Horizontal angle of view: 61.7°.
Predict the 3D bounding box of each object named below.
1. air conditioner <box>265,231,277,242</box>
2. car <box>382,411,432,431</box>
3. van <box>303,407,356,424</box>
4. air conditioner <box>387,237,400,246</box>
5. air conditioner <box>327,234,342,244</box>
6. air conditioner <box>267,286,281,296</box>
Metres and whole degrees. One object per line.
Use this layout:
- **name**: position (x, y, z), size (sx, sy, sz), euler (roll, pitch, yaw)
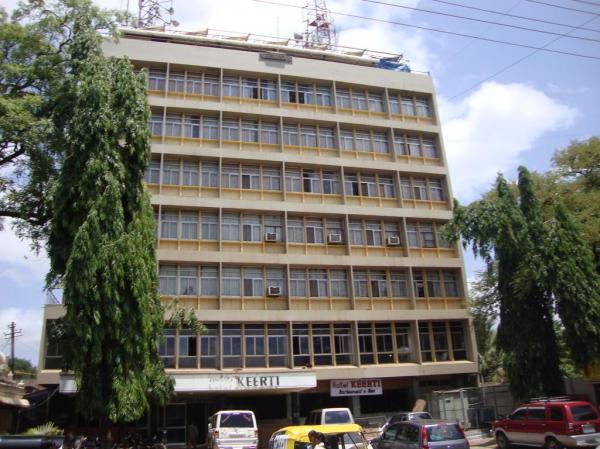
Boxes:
- **air conditioner**: position (-1.960, 0.861, 34.520), size (1.092, 0.637, 0.571), euler (3, -20, -17)
- **car**: position (5.217, 9.650, 25.321), size (2.363, 1.035, 1.589), euler (-12, -18, 43)
- **van**: position (1.306, 8.900, 23.817), size (1.268, 0.963, 2.030), euler (6, -14, -21)
- **air conditioner**: position (6.959, 1.182, 37.047), size (1.233, 0.542, 0.716), euler (0, -6, -17)
- **air conditioner**: position (2.535, 0.976, 35.957), size (1.287, 0.601, 0.802), euler (4, -2, -18)
- **air conditioner**: position (-1.833, 4.497, 33.857), size (0.765, 0.398, 0.687), euler (4, -21, -16)
